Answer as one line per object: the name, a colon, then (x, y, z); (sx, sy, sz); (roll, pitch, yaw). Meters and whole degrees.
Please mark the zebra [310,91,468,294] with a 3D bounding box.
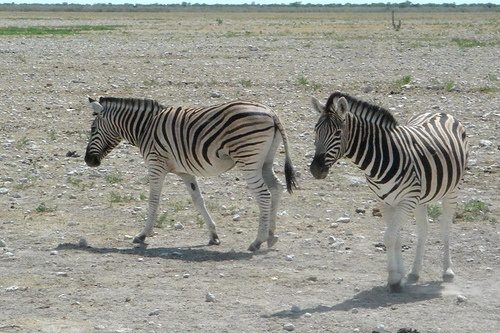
zebra: (2.555, 0.361, 13.102); (2.996, 3.524, 1.190); (-7, 11, -24)
